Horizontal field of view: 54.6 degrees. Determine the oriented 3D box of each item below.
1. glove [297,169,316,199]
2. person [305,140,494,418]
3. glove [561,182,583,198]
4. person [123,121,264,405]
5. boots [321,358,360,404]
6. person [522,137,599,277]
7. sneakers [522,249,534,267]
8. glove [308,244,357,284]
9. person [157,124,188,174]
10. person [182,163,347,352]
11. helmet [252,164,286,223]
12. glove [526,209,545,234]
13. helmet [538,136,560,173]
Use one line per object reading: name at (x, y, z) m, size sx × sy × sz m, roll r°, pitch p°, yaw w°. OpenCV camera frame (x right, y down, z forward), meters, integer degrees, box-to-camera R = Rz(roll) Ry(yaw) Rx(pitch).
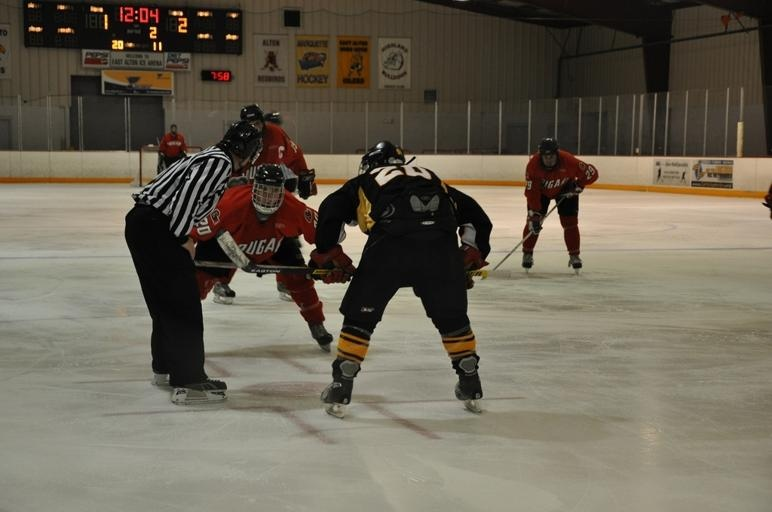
glove at (-0.841, -0.761, 7.935) m, size 0.251 × 0.296 × 0.300 m, roll -1°, pitch 1°, yaw -22°
person at (0.100, 0.113, 4.114) m, size 1.003 × 1.440 × 0.493 m, roll -1°, pitch 12°, yaw -6°
glove at (2.118, -0.747, 8.562) m, size 0.184 × 0.062 × 0.185 m, roll -2°, pitch 30°, yaw 44°
person at (-1.133, 0.117, 4.149) m, size 0.550 × 1.394 × 0.274 m, roll 4°, pitch 12°, yaw 17°
boots at (-0.240, 0.659, 3.971) m, size 0.189 × 0.242 × 0.071 m, roll 0°, pitch 12°, yaw 0°
person at (1.965, -0.603, 8.507) m, size 0.768 × 1.441 × 0.905 m, roll 3°, pitch 12°, yaw 11°
sneakers at (1.533, 0.023, 8.313) m, size 0.167 × 0.195 × 0.152 m, roll 3°, pitch -18°, yaw -4°
glove at (-0.287, 0.044, 4.254) m, size 0.198 × 0.119 × 0.251 m, roll 6°, pitch -26°, yaw 7°
person at (-5.306, -2.518, 18.704) m, size 0.666 × 1.424 × 0.432 m, roll 1°, pitch 24°, yaw -18°
person at (-0.858, -0.012, 5.006) m, size 1.055 × 1.120 × 0.768 m, roll 7°, pitch 9°, yaw -1°
helmet at (-0.750, -0.414, 4.779) m, size 0.243 × 0.329 × 0.338 m, roll 6°, pitch 23°, yaw -12°
glove at (1.707, -0.389, 8.499) m, size 0.207 × 0.249 × 0.243 m, roll 7°, pitch 0°, yaw 24°
helmet at (1.808, -1.132, 8.310) m, size 0.217 × 0.331 × 0.433 m, roll 3°, pitch 11°, yaw 12°
